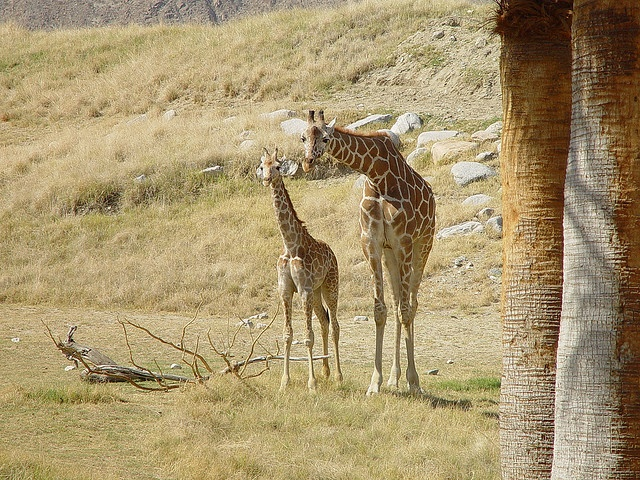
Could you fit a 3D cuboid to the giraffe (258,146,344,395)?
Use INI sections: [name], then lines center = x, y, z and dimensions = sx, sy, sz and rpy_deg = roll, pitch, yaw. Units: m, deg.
[giraffe]
center = -0.681, 1.014, 55.539
dimensions = 2.821, 8.657, 1.863
rpy_deg = 0, 7, -5
